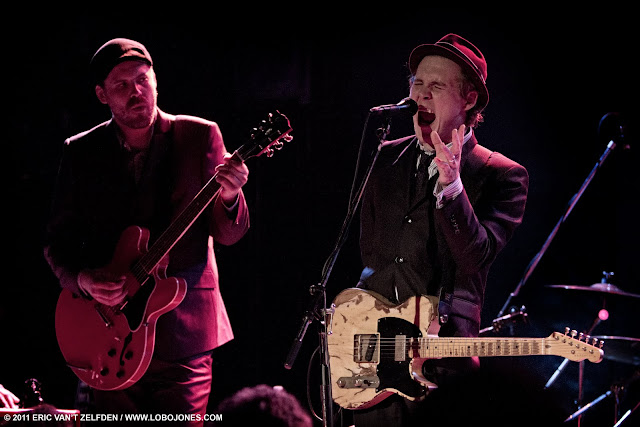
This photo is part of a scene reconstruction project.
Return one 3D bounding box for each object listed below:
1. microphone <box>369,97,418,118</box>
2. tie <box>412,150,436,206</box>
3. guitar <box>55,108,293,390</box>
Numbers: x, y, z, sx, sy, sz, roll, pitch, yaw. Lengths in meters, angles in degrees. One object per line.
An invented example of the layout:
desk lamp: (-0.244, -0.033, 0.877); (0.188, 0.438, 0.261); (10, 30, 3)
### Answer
microphone: (0.533, -0.734, 4.742); (0.385, 0.155, 0.137); (-9, 13, -9)
tie: (0.751, -0.253, 4.953); (0.180, 0.395, 0.110); (0, -6, 20)
guitar: (-1.190, 0.418, 4.900); (1.046, 2.840, 0.283); (41, 9, 26)
